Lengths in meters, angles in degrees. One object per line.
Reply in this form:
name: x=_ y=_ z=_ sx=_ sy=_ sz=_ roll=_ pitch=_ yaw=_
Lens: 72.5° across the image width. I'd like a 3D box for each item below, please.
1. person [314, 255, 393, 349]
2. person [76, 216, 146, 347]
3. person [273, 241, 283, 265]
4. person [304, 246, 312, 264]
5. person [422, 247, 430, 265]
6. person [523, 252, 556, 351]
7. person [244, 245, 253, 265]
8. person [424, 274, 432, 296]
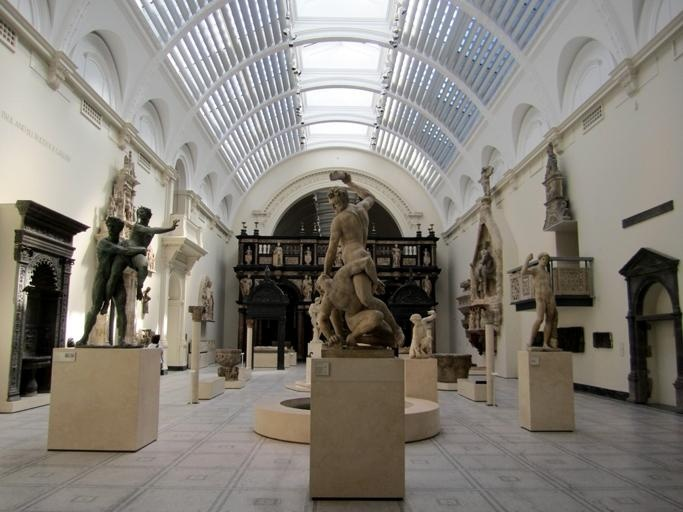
person: x=0.072 y=0.641 z=6.838 sx=0.793 sy=1.398 sz=0.788 roll=-7 pitch=-3 yaw=0
person: x=-3.972 y=0.417 z=8.080 sx=0.833 sy=2.219 sz=0.750 roll=5 pitch=-10 yaw=-31
person: x=-3.574 y=-0.118 z=26.625 sx=0.593 sy=1.419 sz=0.369 roll=1 pitch=-9 yaw=-5
person: x=-1.891 y=-0.047 z=26.700 sx=0.419 sy=1.030 sz=0.227 roll=1 pitch=-9 yaw=-7
person: x=4.991 y=-0.013 z=27.166 sx=0.433 sy=0.945 sz=0.112 roll=1 pitch=-9 yaw=-9
person: x=4.313 y=0.920 z=10.124 sx=0.609 sy=2.073 sz=0.920 roll=-4 pitch=-9 yaw=22
person: x=-5.253 y=-0.107 z=26.770 sx=0.432 sy=0.990 sz=0.183 roll=2 pitch=-9 yaw=-11
person: x=4.986 y=1.648 z=26.683 sx=0.519 sy=1.181 sz=0.318 roll=3 pitch=-9 yaw=-20
